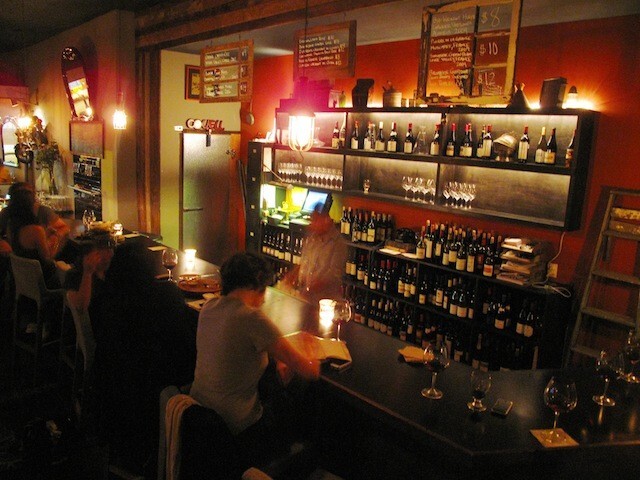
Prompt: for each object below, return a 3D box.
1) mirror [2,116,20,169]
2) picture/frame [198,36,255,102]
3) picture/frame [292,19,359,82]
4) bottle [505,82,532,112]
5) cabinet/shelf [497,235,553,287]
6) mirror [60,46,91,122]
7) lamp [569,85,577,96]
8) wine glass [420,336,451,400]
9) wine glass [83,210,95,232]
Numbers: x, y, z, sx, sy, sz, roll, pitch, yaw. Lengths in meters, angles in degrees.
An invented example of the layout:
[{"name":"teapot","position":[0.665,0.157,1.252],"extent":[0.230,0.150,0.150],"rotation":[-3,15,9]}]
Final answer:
[{"name":"mirror","position":[-7.937,-2.469,13.178],"extent":[0.298,1.193,1.110],"rotation":[-5,14,-37]},{"name":"picture/frame","position":[-1.152,-2.017,6.267],"extent":[0.207,0.700,1.075],"rotation":[-5,15,-38]},{"name":"picture/frame","position":[0.039,-2.096,5.687],"extent":[1.090,0.838,0.126],"rotation":[10,16,33]},{"name":"bottle","position":[1.895,-1.371,4.964],"extent":[0.238,0.300,0.277],"rotation":[9,21,28]},{"name":"cabinet/shelf","position":[2.103,0.211,5.259],"extent":[0.435,0.616,0.598],"rotation":[-3,8,-41]},{"name":"mirror","position":[-4.187,-2.673,8.939],"extent":[0.323,1.196,1.116],"rotation":[-4,14,-34]},{"name":"lamp","position":[2.473,-1.466,5.091],"extent":[0.086,0.090,0.090],"rotation":[2,3,15]},{"name":"wine glass","position":[0.784,0.869,3.551],"extent":[0.152,0.339,0.310],"rotation":[7,12,15]},{"name":"wine glass","position":[-2.987,-0.255,6.674],"extent":[0.116,0.289,0.591],"rotation":[-2,13,-25]}]
